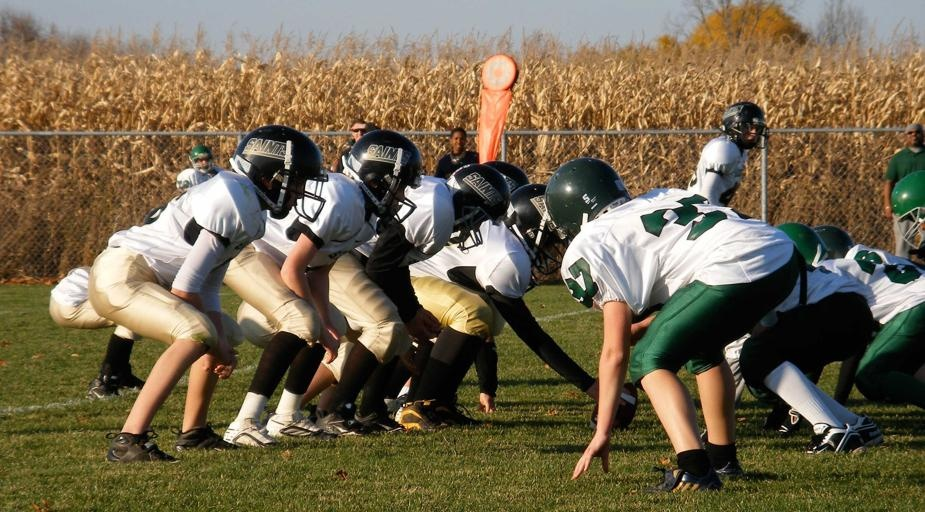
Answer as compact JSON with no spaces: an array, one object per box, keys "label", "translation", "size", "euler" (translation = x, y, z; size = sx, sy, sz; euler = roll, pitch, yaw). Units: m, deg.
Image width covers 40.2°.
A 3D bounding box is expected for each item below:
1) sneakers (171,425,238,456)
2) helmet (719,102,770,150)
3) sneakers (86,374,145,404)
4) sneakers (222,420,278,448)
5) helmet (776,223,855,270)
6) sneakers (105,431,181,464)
[{"label":"sneakers","translation":[-2.371,1.690,11.593],"size":[0.637,0.252,0.210],"euler":[1,-3,-6]},{"label":"helmet","translation":[3.158,-1.494,14.223],"size":[0.464,0.471,0.559],"euler":[0,13,-35]},{"label":"sneakers","translation":[-3.406,1.337,12.795],"size":[0.612,0.252,0.218],"euler":[12,-2,-41]},{"label":"sneakers","translation":[-1.895,1.635,11.687],"size":[0.587,0.229,0.200],"euler":[4,1,-4]},{"label":"helmet","translation":[3.458,-0.124,12.411],"size":[0.667,0.235,0.447],"euler":[12,4,-26]},{"label":"sneakers","translation":[-2.860,1.730,11.437],"size":[0.714,0.278,0.228],"euler":[1,-7,13]}]
